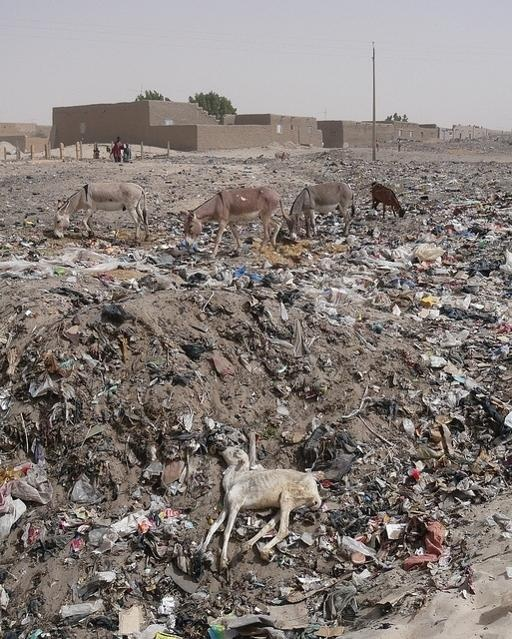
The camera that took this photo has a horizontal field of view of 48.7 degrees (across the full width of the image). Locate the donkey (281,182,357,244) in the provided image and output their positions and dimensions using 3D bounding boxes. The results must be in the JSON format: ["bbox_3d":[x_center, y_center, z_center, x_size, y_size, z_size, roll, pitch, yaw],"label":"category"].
[{"bbox_3d":[1.197,-2.119,10.990,1.644,1.022,0.413,-10,14,-16],"label":"donkey"}]

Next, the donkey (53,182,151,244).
[{"bbox_3d":[-2.971,-2.100,10.963,1.803,1.036,0.453,-1,6,1],"label":"donkey"}]

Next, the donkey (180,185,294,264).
[{"bbox_3d":[-0.512,-1.953,9.968,1.706,1.600,1.548,-11,20,-40],"label":"donkey"}]

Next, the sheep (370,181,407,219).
[{"bbox_3d":[2.898,-2.640,12.585,0.662,0.825,1.283,2,4,11],"label":"sheep"}]
